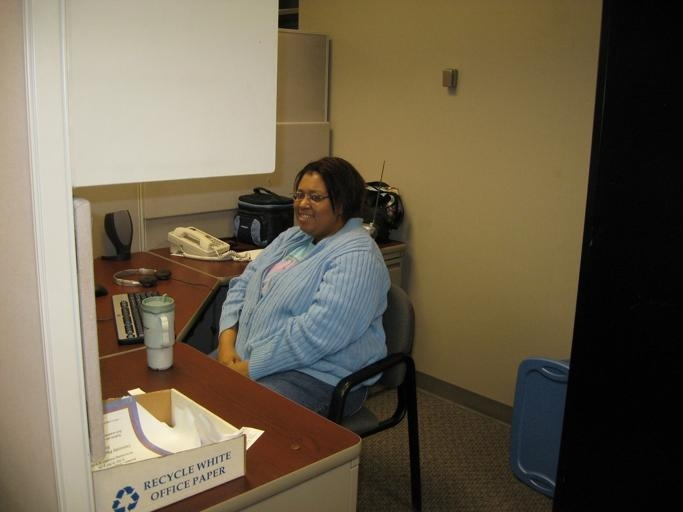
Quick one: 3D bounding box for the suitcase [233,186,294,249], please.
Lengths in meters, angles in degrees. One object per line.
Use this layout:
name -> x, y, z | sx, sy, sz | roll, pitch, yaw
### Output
suitcase -> -0.449, -0.212, 3.199 | 0.306, 0.326, 0.290 | 17, 19, 37

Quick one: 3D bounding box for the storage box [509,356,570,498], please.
storage box -> 0.585, 0.513, 1.639 | 0.131, 0.410, 0.287 | 5, 13, 11

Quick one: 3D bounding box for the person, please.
person -> -0.147, 0.105, 2.461 | 0.815, 1.251, 0.842 | 7, 0, -31
